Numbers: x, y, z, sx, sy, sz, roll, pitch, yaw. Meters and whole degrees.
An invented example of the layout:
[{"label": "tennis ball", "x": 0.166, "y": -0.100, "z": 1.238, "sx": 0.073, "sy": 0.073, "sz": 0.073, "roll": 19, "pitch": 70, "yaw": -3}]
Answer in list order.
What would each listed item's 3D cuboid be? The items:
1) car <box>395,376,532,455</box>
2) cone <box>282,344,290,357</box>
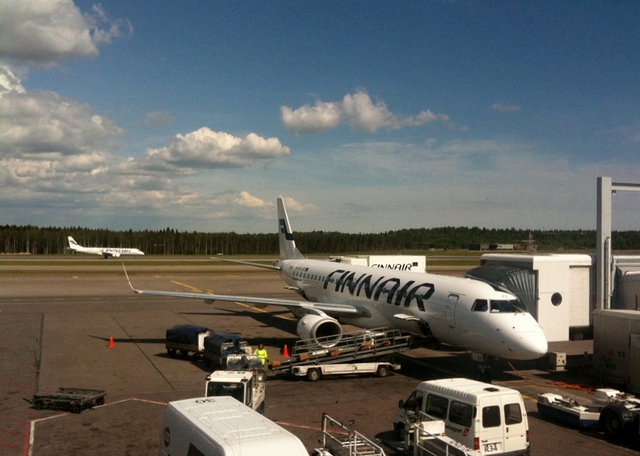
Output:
[{"label": "car", "x": 6.785, "y": 8.659, "z": 29.216, "sx": 2.980, "sy": 2.765, "sz": 4.997, "roll": 2, "pitch": 0, "yaw": -40}, {"label": "cone", "x": -2.407, "y": 8.735, "z": 43.611, "sx": 0.610, "sy": 0.781, "sz": 0.592, "roll": 0, "pitch": -6, "yaw": 1}]
